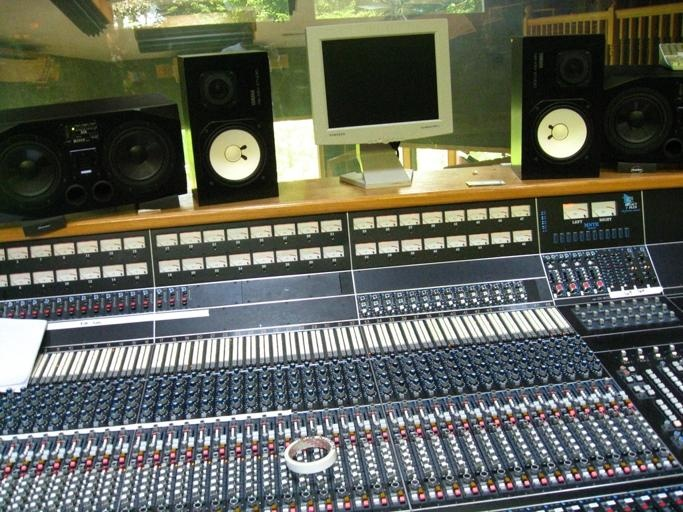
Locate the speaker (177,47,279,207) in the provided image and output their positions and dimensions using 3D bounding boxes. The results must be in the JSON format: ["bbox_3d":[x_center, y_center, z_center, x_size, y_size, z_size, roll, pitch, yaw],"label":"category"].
[{"bbox_3d":[-0.603,-0.664,3.055,0.520,0.491,0.696,-2,-73,3],"label":"speaker"}]

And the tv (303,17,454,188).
[{"bbox_3d":[0.205,-0.873,2.929,0.719,0.265,0.555,-4,-60,-1],"label":"tv"}]
